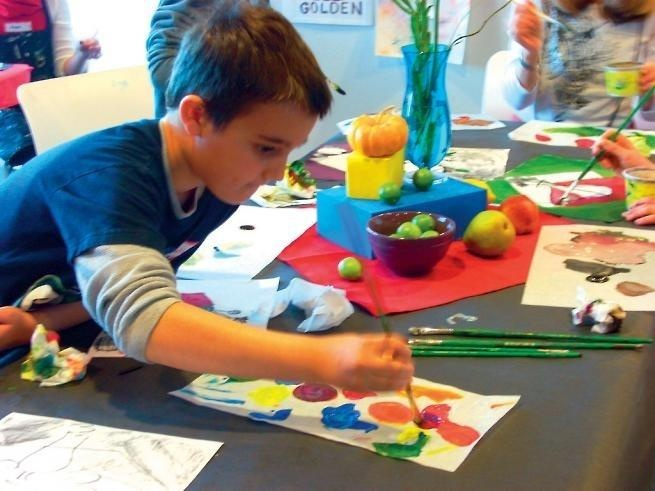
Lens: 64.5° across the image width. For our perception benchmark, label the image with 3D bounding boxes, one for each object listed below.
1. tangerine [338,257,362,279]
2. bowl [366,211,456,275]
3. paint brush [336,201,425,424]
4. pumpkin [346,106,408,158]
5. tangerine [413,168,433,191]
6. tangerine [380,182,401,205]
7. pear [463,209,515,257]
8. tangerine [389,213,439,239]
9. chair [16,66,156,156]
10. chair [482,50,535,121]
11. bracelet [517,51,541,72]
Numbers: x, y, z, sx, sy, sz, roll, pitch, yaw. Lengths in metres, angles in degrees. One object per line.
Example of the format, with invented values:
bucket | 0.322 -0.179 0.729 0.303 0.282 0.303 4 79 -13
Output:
tangerine | 0.053 0.050 1.115 0.054 0.044 0.046 1 26 5
bowl | 0.194 -0.006 1.146 0.187 0.088 0.165 -3 23 -3
paint brush | 0.067 0.139 0.841 0.100 0.210 0.122 1 21 -5
pumpkin | 0.129 -0.282 1.343 0.164 0.131 0.146 -7 26 -4
tangerine | 0.239 -0.165 1.290 0.060 0.060 0.055 7 26 20
tangerine | 0.155 -0.128 1.251 0.058 0.047 0.049 6 21 9
pear | 0.367 -0.025 1.227 0.127 0.106 0.109 -11 37 27
tangerine | 0.192 -0.048 1.121 0.066 0.032 0.072 -20 5 12
chair | -0.759 -0.481 1.812 0.521 0.357 0.381 -6 25 -16
chair | 0.897 -0.775 2.550 0.319 0.424 0.321 6 26 14
bracelet | 0.898 -0.822 2.308 0.080 0.075 0.080 -8 35 20
